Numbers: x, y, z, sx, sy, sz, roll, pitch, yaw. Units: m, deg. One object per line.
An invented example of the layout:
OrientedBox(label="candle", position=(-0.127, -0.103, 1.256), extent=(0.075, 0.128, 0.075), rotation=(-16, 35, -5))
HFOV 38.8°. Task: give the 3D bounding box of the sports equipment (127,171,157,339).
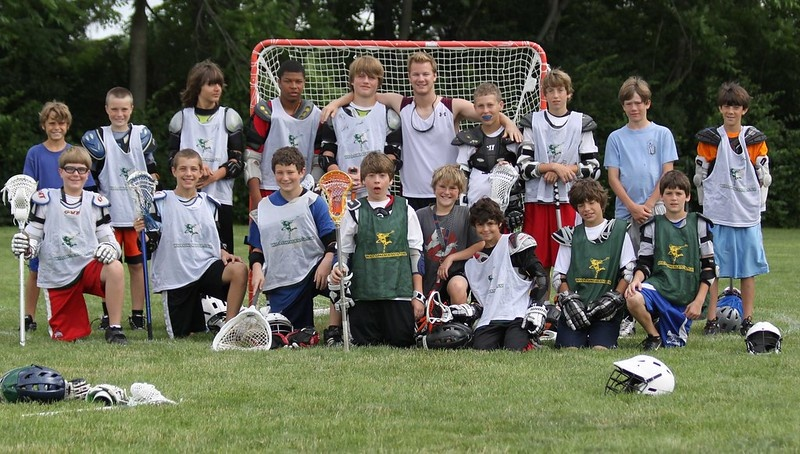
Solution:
OrientedBox(label="sports equipment", position=(-4.143, 0.443, 18.248), extent=(0.485, 2.730, 0.569), rotation=(0, -3, -14))

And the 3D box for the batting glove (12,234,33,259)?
OrientedBox(label="batting glove", position=(-5.952, 0.281, 17.927), extent=(0.314, 0.414, 0.187), rotation=(0, -3, -20))

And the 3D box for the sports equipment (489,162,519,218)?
OrientedBox(label="sports equipment", position=(1.640, -0.655, 18.445), extent=(0.502, 0.750, 0.173), rotation=(12, 2, 4))

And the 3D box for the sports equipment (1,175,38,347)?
OrientedBox(label="sports equipment", position=(-6.069, 0.526, 18.231), extent=(0.781, 2.586, 0.292), rotation=(0, -10, -6))

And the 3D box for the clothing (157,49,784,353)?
OrientedBox(label="clothing", position=(-1.101, -0.680, 20.993), extent=(8.599, 6.099, 1.499), rotation=(1, -47, -13))

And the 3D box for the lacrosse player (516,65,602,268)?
OrientedBox(label="lacrosse player", position=(2.616, -0.664, 18.974), extent=(1.372, 3.882, 1.127), rotation=(-1, 23, 0))

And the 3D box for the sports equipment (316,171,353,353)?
OrientedBox(label="sports equipment", position=(-1.000, 0.521, 17.696), extent=(0.484, 2.801, 0.618), rotation=(-1, -3, -4))

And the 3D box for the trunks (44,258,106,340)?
OrientedBox(label="trunks", position=(-5.216, 1.141, 18.134), extent=(0.899, 1.254, 0.995), rotation=(-12, -8, -44))

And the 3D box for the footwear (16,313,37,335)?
OrientedBox(label="footwear", position=(-6.105, 1.594, 18.558), extent=(0.332, 0.236, 0.112), rotation=(1, -1, 13))

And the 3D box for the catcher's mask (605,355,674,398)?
OrientedBox(label="catcher's mask", position=(3.407, 2.134, 16.041), extent=(0.781, 0.410, 0.554), rotation=(6, -8, -1))

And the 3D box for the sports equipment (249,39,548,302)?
OrientedBox(label="sports equipment", position=(-0.042, -0.793, 18.526), extent=(4.983, 3.137, 0.277), rotation=(0, -4, -3))

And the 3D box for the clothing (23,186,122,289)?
OrientedBox(label="clothing", position=(-5.291, 0.188, 18.064), extent=(1.318, 1.575, 0.314), rotation=(0, -3, -15))

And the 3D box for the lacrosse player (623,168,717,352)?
OrientedBox(label="lacrosse player", position=(4.213, 0.501, 17.635), extent=(1.333, 2.770, 0.517), rotation=(-1, -3, 12))

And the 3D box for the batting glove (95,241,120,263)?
OrientedBox(label="batting glove", position=(-4.641, 0.408, 18.049), extent=(0.402, 0.343, 0.310), rotation=(0, -3, -23))

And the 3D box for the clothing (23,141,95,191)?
OrientedBox(label="clothing", position=(-5.530, -0.973, 18.469), extent=(0.834, 0.673, 0.319), rotation=(0, -4, -18))

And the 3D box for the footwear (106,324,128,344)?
OrientedBox(label="footwear", position=(-4.483, 1.702, 17.877), extent=(0.416, 0.301, 0.337), rotation=(-1, -3, 2))
